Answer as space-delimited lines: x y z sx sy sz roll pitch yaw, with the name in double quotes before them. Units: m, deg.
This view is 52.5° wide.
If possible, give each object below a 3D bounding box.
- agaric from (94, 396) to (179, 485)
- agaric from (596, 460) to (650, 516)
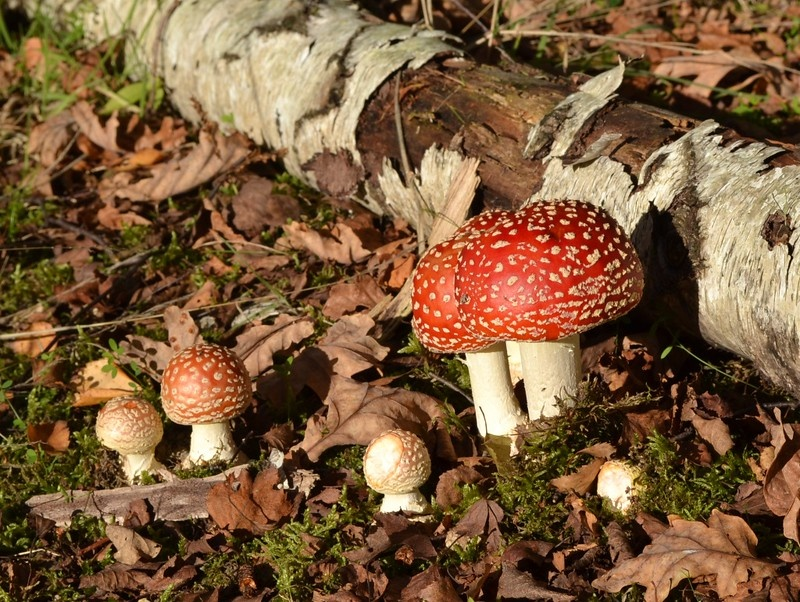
"agaric" -1.979 1.065 6.106 0.462 0.683 0.467 19 33 24
"agaric" 1.564 1.200 5.450 0.457 0.240 0.391 -13 18 21
